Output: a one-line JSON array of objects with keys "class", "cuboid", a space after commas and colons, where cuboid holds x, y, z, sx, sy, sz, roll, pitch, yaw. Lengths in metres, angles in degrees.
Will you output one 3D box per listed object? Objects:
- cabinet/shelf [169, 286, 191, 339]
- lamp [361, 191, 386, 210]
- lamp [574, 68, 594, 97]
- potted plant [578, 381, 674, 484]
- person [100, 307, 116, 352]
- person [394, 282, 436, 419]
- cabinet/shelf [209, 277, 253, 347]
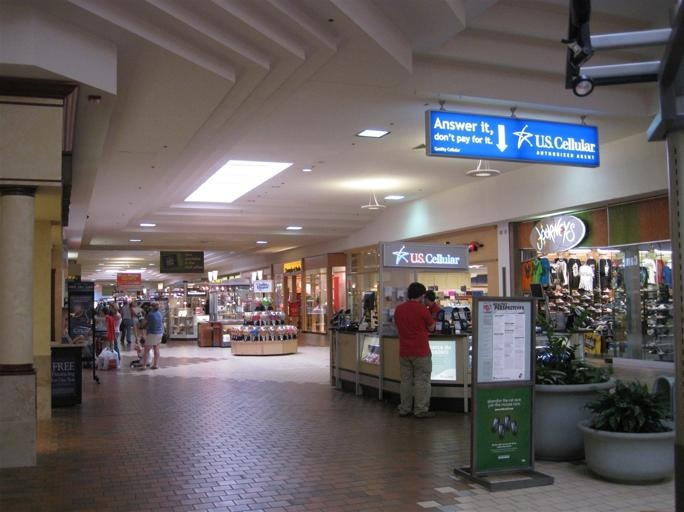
[{"class": "cabinet/shelf", "cuboid": [-7.201, 2.610, 23.447, 1.036, 2.146, 1.491, 0, -4, -21]}, {"class": "lamp", "cuboid": [0.977, -1.551, 16.692, 0.583, 0.683, 0.579, 9, -13, -37]}, {"class": "lamp", "cuboid": [1.888, -1.322, 4.018, 0.153, 0.163, 0.198, 1, 36, 10]}, {"class": "potted plant", "cuboid": [2.676, 1.691, 5.159, 0.744, 0.892, 0.931, 1, -6, -8]}, {"class": "person", "cuboid": [-6.876, 2.122, 15.499, 0.361, 1.188, 2.603, 1, -4, -24]}, {"class": "person", "cuboid": [1.055, 1.364, 7.675, 0.543, 1.921, 0.524, -2, -4, 6]}, {"class": "cabinet/shelf", "cuboid": [-4.741, 2.278, 22.523, 1.943, 2.569, 6.468, 0, -4, -14]}]
